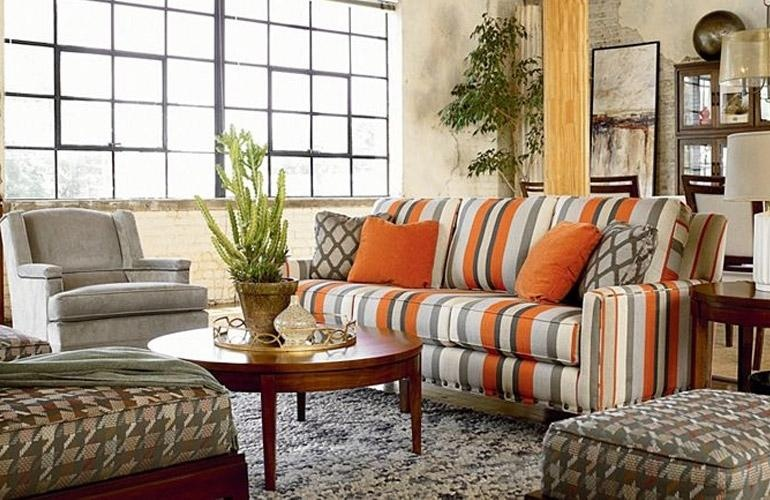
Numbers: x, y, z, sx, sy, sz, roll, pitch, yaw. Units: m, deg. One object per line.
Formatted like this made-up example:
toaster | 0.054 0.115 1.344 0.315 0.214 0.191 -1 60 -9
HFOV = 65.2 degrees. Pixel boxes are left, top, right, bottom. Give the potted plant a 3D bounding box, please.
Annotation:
potted plant | -0.859 -0.239 3.762 0.534 1.102 2.416 -2 6 -14

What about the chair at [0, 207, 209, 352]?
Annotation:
chair | -2.115 0.181 4.570 1.052 1.149 1.391 0 -4 -38

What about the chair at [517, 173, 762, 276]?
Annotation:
chair | 1.592 -0.144 3.710 0.329 0.521 0.897 -2 3 -34

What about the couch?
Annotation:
couch | 0.591 0.254 4.037 1.160 1.102 2.709 -7 7 -41

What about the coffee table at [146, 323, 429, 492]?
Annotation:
coffee table | -0.419 0.683 2.780 1.194 0.525 0.696 -2 7 -16

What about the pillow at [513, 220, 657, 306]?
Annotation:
pillow | 1.108 0.085 3.353 0.733 0.470 0.351 2 7 19
